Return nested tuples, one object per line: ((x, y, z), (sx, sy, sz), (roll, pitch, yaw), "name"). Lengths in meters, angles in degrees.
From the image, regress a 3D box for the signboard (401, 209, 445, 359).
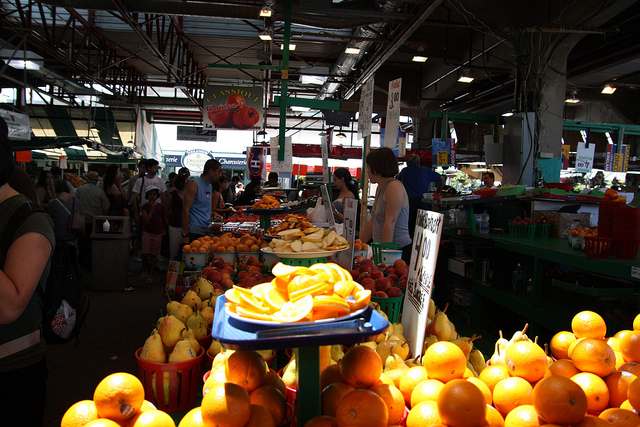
((0.566, 0.373, 2.412), (0.218, 0.766, 0.377), (-3, 7, -1), "signboard")

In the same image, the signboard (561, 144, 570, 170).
((4.096, -0.945, 7.197), (0.065, 0.632, 0.535), (3, 8, 39), "signboard")

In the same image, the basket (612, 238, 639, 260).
((2.555, 0.299, 3.594), (0.169, 0.149, 0.178), (6, -8, -32), "basket")

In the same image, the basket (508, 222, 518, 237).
((2.224, 0.181, 4.964), (0.048, 0.154, 0.167), (-3, 8, 0), "basket")

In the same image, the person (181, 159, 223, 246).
((-1.696, -0.177, 6.162), (0.644, 1.156, 0.496), (-7, 8, -27), "person")

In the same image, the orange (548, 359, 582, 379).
((1.211, 0.772, 2.143), (0.081, 0.102, 0.083), (9, 2, 9), "orange")

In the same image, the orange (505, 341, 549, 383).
((0.993, 0.706, 2.147), (0.188, 0.192, 0.180), (3, 7, 0), "orange")

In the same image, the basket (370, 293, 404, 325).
((0.447, 0.595, 2.810), (0.193, 0.177, 0.223), (4, 5, 30), "basket")

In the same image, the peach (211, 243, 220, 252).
((-1.042, 0.341, 4.288), (0.074, 0.041, 0.074), (-3, 9, -20), "peach")

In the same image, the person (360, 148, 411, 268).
((0.635, -0.027, 4.194), (0.510, 1.217, 0.716), (-2, 7, 8), "person")

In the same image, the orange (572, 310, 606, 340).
((1.446, 0.605, 2.317), (0.175, 0.150, 0.141), (-10, 10, -44), "orange")

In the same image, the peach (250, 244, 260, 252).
((-0.634, 0.341, 4.188), (0.065, 0.068, 0.067), (4, 10, -8), "peach")

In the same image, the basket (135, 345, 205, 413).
((-0.904, 1.039, 2.596), (0.394, 0.308, 0.370), (-18, -19, 38), "basket")

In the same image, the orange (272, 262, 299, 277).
((-0.168, 0.278, 2.090), (0.132, 0.044, 0.119), (0, 8, 20), "orange")

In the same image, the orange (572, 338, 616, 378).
((1.325, 0.690, 2.150), (0.183, 0.186, 0.175), (0, 7, -1), "orange")

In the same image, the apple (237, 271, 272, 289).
((-0.475, 0.469, 3.041), (0.153, 0.103, 0.202), (-7, 1, -16), "apple")

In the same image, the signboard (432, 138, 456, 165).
((2.497, -1.278, 8.744), (0.574, 0.595, 0.062), (-1, 2, -20), "signboard")

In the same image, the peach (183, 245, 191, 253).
((-1.320, 0.352, 4.279), (0.055, 0.068, 0.065), (9, -6, -10), "peach")

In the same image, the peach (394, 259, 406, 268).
((0.607, 0.372, 3.199), (0.054, 0.066, 0.056), (2, 6, 7), "peach")

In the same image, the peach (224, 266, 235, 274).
((-0.718, 0.462, 3.477), (0.056, 0.033, 0.045), (26, 9, -18), "peach")

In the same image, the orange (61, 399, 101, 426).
((-1.062, 0.895, 1.929), (0.123, 0.127, 0.148), (15, -49, -28), "orange")

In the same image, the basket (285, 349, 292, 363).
((-0.181, 0.844, 2.546), (0.060, 0.048, 0.060), (1, 2, -3), "basket")

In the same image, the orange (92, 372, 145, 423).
((-0.886, 0.812, 2.011), (0.224, 0.233, 0.205), (4, -2, -3), "orange")

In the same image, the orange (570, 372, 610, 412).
((1.311, 0.864, 2.088), (0.143, 0.173, 0.147), (-17, -7, 1), "orange")

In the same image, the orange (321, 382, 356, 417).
((0.092, 0.841, 2.056), (0.135, 0.141, 0.166), (-17, -1, 8), "orange")

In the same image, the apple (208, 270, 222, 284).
((-0.776, 0.469, 3.222), (0.079, 0.084, 0.082), (-22, -10, 31), "apple")

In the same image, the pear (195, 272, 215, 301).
((-0.807, 0.526, 3.011), (0.124, 0.176, 0.127), (-12, -8, 24), "pear")

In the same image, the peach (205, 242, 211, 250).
((-1.167, 0.334, 4.478), (0.029, 0.053, 0.053), (-9, 44, 1), "peach")

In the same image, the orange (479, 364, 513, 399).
((0.872, 0.820, 2.136), (0.115, 0.118, 0.117), (-10, 18, -3), "orange")

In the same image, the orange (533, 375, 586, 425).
((1.080, 0.807, 1.992), (0.203, 0.209, 0.195), (6, 8, 18), "orange")

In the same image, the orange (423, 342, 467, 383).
((0.597, 0.712, 2.142), (0.186, 0.194, 0.177), (-4, -8, -4), "orange")

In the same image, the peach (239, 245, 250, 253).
((-0.730, 0.345, 4.168), (0.069, 0.086, 0.071), (-15, -7, 8), "peach")

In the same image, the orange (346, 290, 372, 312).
((0.169, 0.381, 1.904), (0.090, 0.072, 0.145), (3, 10, 38), "orange")

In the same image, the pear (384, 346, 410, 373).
((0.392, 0.755, 2.221), (0.089, 0.126, 0.090), (5, -7, -4), "pear")

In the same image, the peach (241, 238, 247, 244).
((-0.766, 0.277, 4.343), (0.046, 0.035, 0.047), (1, 0, -2), "peach")

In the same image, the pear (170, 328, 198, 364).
((-0.774, 0.784, 2.514), (0.114, 0.166, 0.113), (-8, -23, -1), "pear")

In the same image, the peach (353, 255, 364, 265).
((0.304, 0.364, 3.415), (0.058, 0.062, 0.045), (28, -4, -8), "peach")

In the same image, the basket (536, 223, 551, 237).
((2.573, 0.194, 4.955), (0.229, 0.162, 0.074), (-6, 8, -21), "basket")

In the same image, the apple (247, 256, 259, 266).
((-0.563, 0.392, 3.600), (0.065, 0.067, 0.067), (1, -22, 15), "apple")

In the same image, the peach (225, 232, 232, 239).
((-0.996, 0.238, 4.752), (0.052, 0.040, 0.050), (-2, 5, -42), "peach")

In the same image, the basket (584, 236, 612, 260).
((2.336, 0.288, 3.612), (0.185, 0.151, 0.181), (0, -3, 32), "basket")

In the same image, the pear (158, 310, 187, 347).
((-0.891, 0.696, 2.580), (0.153, 0.224, 0.151), (-1, -9, -20), "pear")

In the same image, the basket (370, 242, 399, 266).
((0.539, 0.320, 3.614), (0.187, 0.143, 0.184), (-2, 6, -37), "basket")

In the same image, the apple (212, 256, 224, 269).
((-0.827, 0.394, 3.538), (0.080, 0.099, 0.082), (-36, -30, 17), "apple")

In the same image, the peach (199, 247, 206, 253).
((-1.172, 0.360, 4.297), (0.042, 0.031, 0.054), (11, 4, 13), "peach")

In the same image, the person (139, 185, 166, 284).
((-3.041, 0.374, 7.792), (0.495, 1.643, 1.326), (-6, 8, -22), "person")

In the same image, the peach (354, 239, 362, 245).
((0.336, 0.251, 3.830), (0.051, 0.029, 0.052), (3, 2, 6), "peach")

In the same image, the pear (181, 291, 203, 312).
((-0.859, 0.593, 2.902), (0.116, 0.145, 0.123), (3, -12, -22), "pear")

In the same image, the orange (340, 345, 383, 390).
((0.200, 0.784, 2.098), (0.206, 0.242, 0.202), (11, -31, -26), "orange")

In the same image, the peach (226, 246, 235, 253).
((-0.863, 0.355, 4.214), (0.052, 0.054, 0.063), (2, -29, -19), "peach")

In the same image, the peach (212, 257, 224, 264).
((-0.834, 0.388, 3.564), (0.057, 0.033, 0.059), (-2, -7, 39), "peach")

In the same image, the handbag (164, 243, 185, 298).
((-1.300, 0.594, 3.871), (0.179, 0.330, 0.468), (-5, 8, -18), "handbag")

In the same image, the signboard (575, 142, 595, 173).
((4.330, -0.920, 7.047), (0.229, 0.496, 0.348), (1, 9, 31), "signboard")

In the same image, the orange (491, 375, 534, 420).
((0.941, 0.923, 2.051), (0.155, 0.156, 0.185), (20, 51, 41), "orange")

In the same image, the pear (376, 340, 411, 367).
((0.391, 0.790, 2.302), (0.126, 0.192, 0.133), (9, 34, -4), "pear")

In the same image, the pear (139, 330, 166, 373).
((-0.980, 0.810, 2.560), (0.167, 0.243, 0.172), (5, 5, -18), "pear")

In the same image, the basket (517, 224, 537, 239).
((2.327, 0.206, 4.826), (0.161, 0.115, 0.144), (0, -4, 44), "basket")
